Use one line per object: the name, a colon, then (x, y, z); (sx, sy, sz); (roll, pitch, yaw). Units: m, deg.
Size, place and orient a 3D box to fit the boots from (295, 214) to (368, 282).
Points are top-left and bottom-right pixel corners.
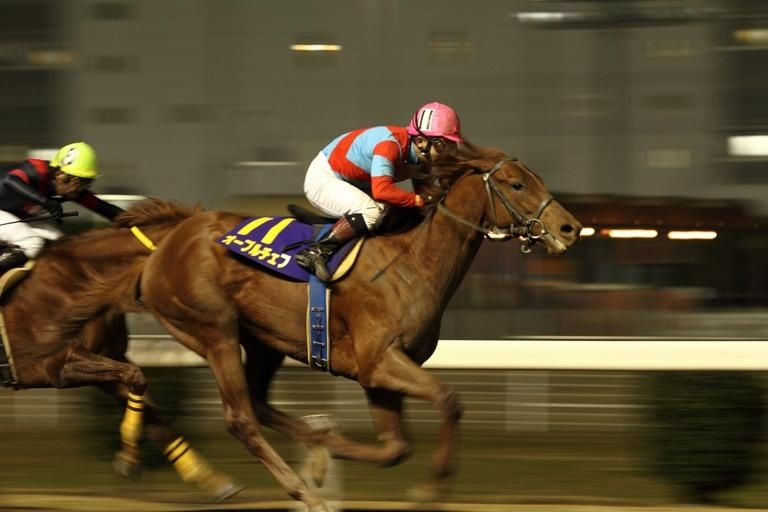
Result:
boots: (-0.288, -0.082, 7.661); (0.295, 0.445, 0.157); (39, -12, 46)
